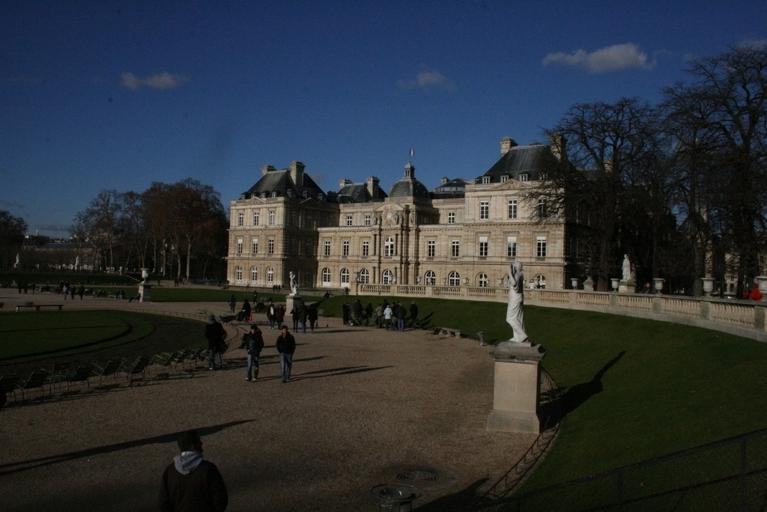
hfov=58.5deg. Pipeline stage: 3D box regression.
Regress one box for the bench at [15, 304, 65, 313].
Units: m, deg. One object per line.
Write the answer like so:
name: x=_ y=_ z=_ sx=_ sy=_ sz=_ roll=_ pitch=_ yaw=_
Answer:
bench: x=-26.765 y=3.933 z=53.117 sx=2.598 sy=0.532 sz=5.308 roll=2 pitch=-3 yaw=-15
